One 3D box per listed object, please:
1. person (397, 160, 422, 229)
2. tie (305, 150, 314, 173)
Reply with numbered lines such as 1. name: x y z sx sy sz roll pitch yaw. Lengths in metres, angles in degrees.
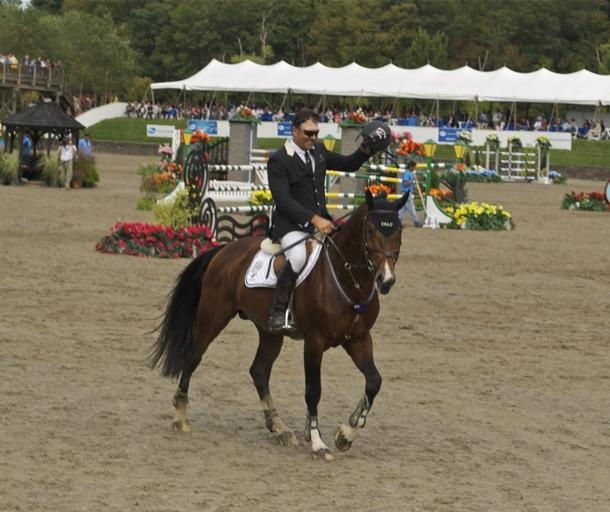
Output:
1. person: 3.096 -1.829 39.767 0.868 2.316 0.822 -10 38 -9
2. tie: 0.088 -1.975 27.810 0.180 0.461 0.089 -7 2 -14
